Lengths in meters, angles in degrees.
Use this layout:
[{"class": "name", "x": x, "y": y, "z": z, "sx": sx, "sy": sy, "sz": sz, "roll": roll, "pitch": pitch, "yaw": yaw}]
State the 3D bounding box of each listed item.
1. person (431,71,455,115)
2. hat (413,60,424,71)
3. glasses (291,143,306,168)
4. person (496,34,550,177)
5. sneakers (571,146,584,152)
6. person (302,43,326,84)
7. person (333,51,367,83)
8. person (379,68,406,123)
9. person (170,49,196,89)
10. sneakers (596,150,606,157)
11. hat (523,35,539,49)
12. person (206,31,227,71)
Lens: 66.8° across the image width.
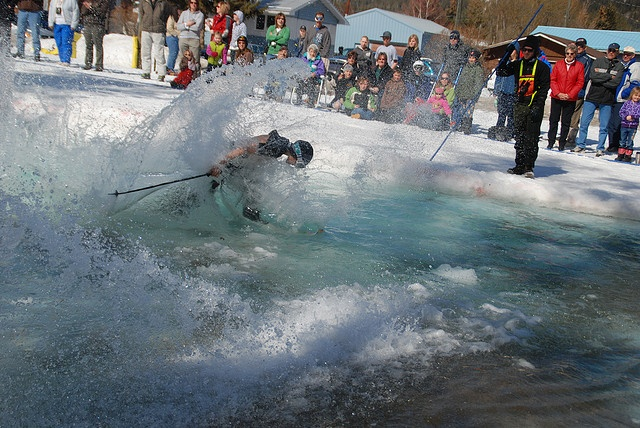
[{"class": "person", "x": 3.227, "y": -3.143, "z": 12.479, "sx": 0.494, "sy": 0.894, "sz": 0.473, "roll": 7, "pitch": 10, "yaw": 11}, {"class": "hat", "x": 2.557, "y": -3.871, "z": 12.624, "sx": 0.276, "sy": 0.330, "sz": 0.245, "roll": 8, "pitch": 10, "yaw": 15}, {"class": "glasses", "x": -0.279, "y": -0.782, "z": 6.422, "sx": 0.109, "sy": 0.282, "sz": 0.215, "roll": -16, "pitch": 4, "yaw": 12}, {"class": "person", "x": 3.600, "y": -1.882, "z": 8.655, "sx": 0.769, "sy": 2.400, "sz": 0.510, "roll": 9, "pitch": 11, "yaw": 21}, {"class": "sneakers", "x": 6.263, "y": -1.582, "z": 11.796, "sx": 0.282, "sy": 0.131, "sz": 0.103, "roll": 5, "pitch": 20, "yaw": 5}, {"class": "person", "x": -0.207, "y": -4.098, "z": 13.192, "sx": 0.566, "sy": 1.018, "sz": 1.160, "roll": 7, "pitch": 10, "yaw": 11}, {"class": "person", "x": 0.916, "y": -4.025, "z": 13.090, "sx": 0.708, "sy": 0.778, "sz": 0.735, "roll": 2, "pitch": 11, "yaw": -19}, {"class": "person", "x": 1.874, "y": -3.072, "z": 12.633, "sx": 0.712, "sy": 1.345, "sz": 0.460, "roll": 9, "pitch": 11, "yaw": 24}, {"class": "person", "x": -3.544, "y": -3.833, "z": 12.774, "sx": 0.595, "sy": 1.099, "sz": 0.751, "roll": 5, "pitch": 10, "yaw": -3}, {"class": "sneakers", "x": 6.677, "y": -1.434, "z": 11.535, "sx": 0.137, "sy": 0.172, "sz": 0.406, "roll": -4, "pitch": -1, "yaw": 35}, {"class": "hat", "x": 3.610, "y": -2.940, "z": 8.306, "sx": 0.199, "sy": 0.247, "sz": 0.234, "roll": 15, "pitch": -25, "yaw": 10}, {"class": "person", "x": -2.752, "y": -4.308, "z": 12.750, "sx": 0.566, "sy": 1.015, "sz": 0.601, "roll": 6, "pitch": 10, "yaw": 8}]
